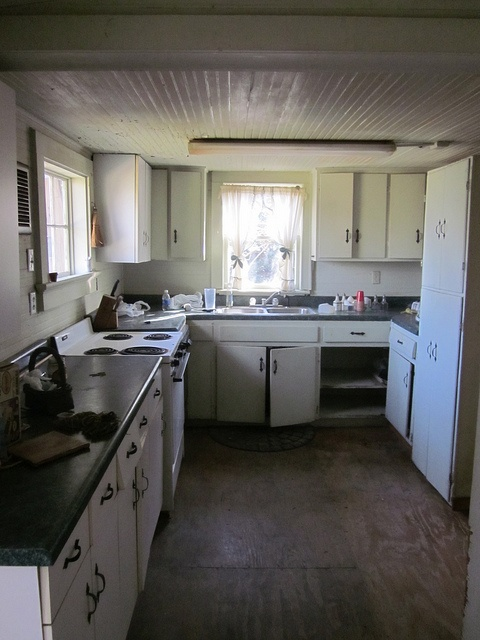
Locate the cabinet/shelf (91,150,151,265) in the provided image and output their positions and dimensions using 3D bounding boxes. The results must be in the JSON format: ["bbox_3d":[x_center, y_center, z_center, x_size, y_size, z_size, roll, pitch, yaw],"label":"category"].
[{"bbox_3d":[-0.889,-0.831,3.328,0.240,0.722,0.721,0,3,0],"label":"cabinet/shelf"}]

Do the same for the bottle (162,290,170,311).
[{"bbox_3d":[-0.651,-0.169,4.007,0.061,0.168,0.165,-1,6,-12],"label":"bottle"}]

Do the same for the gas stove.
[{"bbox_3d":[-0.678,0.157,2.903,0.724,0.292,1.292,0,6,-6],"label":"gas stove"}]

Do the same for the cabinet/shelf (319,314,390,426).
[{"bbox_3d":[1.000,0.448,3.935,0.653,0.830,0.417,-1,6,2],"label":"cabinet/shelf"}]

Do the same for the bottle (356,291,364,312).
[{"bbox_3d":[1.091,-0.172,4.102,0.068,0.165,0.208,2,6,15],"label":"bottle"}]

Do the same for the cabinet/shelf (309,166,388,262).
[{"bbox_3d":[1.040,-1.039,4.140,0.632,0.957,0.470,3,34,19],"label":"cabinet/shelf"}]

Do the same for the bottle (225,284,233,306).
[{"bbox_3d":[-0.091,-0.232,4.309,0.072,0.224,0.111,0,5,-2],"label":"bottle"}]

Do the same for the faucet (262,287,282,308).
[{"bbox_3d":[0.295,-0.199,4.264,0.180,0.152,0.175,1,6,2],"label":"faucet"}]

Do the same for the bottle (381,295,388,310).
[{"bbox_3d":[1.353,-0.158,4.235,0.059,0.114,0.242,2,6,18],"label":"bottle"}]
